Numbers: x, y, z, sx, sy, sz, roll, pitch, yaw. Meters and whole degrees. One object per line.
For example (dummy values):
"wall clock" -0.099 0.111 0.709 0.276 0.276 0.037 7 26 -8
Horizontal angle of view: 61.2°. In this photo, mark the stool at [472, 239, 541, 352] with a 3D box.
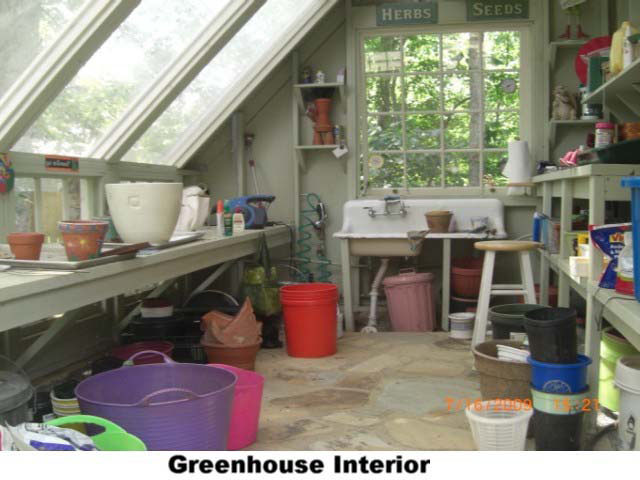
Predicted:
"stool" 1.306 0.351 3.783 0.565 0.640 0.551 -4 3 -34

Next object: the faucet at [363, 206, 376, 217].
"faucet" 0.457 -0.256 5.062 0.118 0.093 0.072 -2 7 -9

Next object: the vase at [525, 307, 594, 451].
"vase" 1.085 0.674 2.523 0.300 0.658 0.472 4 10 25

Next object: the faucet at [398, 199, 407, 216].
"faucet" 0.773 -0.288 5.037 0.059 0.151 0.050 -9 13 -43

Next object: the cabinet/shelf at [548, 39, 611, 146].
"cabinet/shelf" 2.306 -1.314 4.905 0.474 0.969 0.366 3 10 20

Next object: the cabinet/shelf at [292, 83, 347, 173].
"cabinet/shelf" -0.009 -1.086 5.295 0.520 0.846 0.334 0 9 0

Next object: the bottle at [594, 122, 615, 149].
"bottle" 1.913 -0.708 3.647 0.110 0.162 0.250 5 10 27

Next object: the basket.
"basket" 0.809 0.830 2.451 0.264 0.144 0.258 -3 1 -20

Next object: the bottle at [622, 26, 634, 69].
"bottle" 1.858 -1.169 3.269 0.060 0.258 0.198 5 10 27

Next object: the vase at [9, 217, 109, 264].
"vase" -1.208 0.004 2.521 0.337 0.122 0.210 2 1 -4

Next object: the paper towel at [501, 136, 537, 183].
"paper towel" 1.800 -0.702 4.933 0.257 0.382 0.172 3 10 16

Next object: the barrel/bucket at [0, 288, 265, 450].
"barrel/bucket" -0.690 0.668 3.028 0.971 0.665 0.783 1 -3 -26

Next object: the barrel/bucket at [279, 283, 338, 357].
"barrel/bucket" -0.021 0.577 4.133 0.510 0.491 0.488 0 6 0
